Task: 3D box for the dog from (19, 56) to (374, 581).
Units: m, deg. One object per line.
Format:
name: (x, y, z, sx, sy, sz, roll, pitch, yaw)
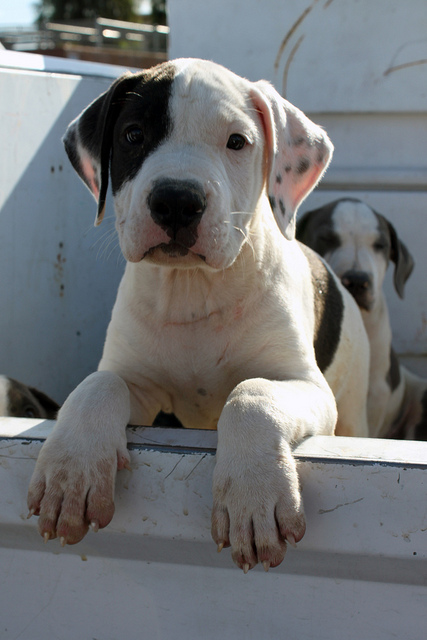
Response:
dog: (-0.022, -0.162, 2.189, 0.877, 1.213, 1.526, 8, 8, 12)
